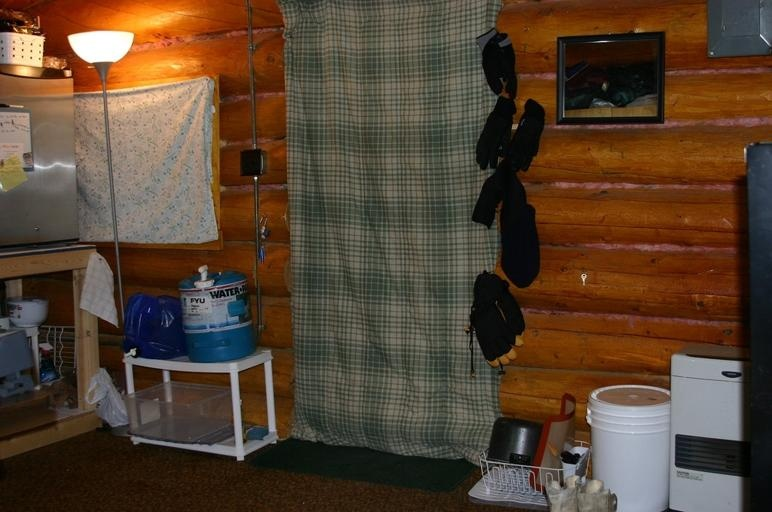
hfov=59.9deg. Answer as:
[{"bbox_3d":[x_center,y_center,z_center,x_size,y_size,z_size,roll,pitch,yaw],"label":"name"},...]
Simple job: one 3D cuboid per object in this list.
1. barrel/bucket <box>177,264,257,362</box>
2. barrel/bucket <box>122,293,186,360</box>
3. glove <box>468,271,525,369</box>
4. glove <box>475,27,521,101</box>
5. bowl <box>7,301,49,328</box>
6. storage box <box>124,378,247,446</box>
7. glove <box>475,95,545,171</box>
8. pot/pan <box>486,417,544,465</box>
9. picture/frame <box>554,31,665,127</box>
[{"bbox_3d":[-1.133,0.405,4.771,0.749,0.530,0.672,-8,4,5],"label":"barrel/bucket"},{"bbox_3d":[-1.602,0.558,4.990,0.484,0.423,0.533,5,-13,-42],"label":"barrel/bucket"},{"bbox_3d":[0.685,0.399,4.186,0.395,0.545,0.185,-14,-3,16],"label":"glove"},{"bbox_3d":[0.689,-1.162,4.114,0.278,0.398,0.104,-9,13,7],"label":"glove"},{"bbox_3d":[-2.729,0.452,5.114,0.241,0.140,0.226,1,-3,0],"label":"bowl"},{"bbox_3d":[-1.418,1.093,4.647,0.708,0.247,0.461,2,5,23],"label":"storage box"},{"bbox_3d":[0.829,-0.739,4.258,0.516,0.428,0.205,24,9,16],"label":"glove"},{"bbox_3d":[0.806,1.122,4.193,0.333,0.234,0.271,9,8,16],"label":"pot/pan"},{"bbox_3d":[1.366,-1.070,4.034,0.730,0.492,0.046,2,7,17],"label":"picture/frame"}]
